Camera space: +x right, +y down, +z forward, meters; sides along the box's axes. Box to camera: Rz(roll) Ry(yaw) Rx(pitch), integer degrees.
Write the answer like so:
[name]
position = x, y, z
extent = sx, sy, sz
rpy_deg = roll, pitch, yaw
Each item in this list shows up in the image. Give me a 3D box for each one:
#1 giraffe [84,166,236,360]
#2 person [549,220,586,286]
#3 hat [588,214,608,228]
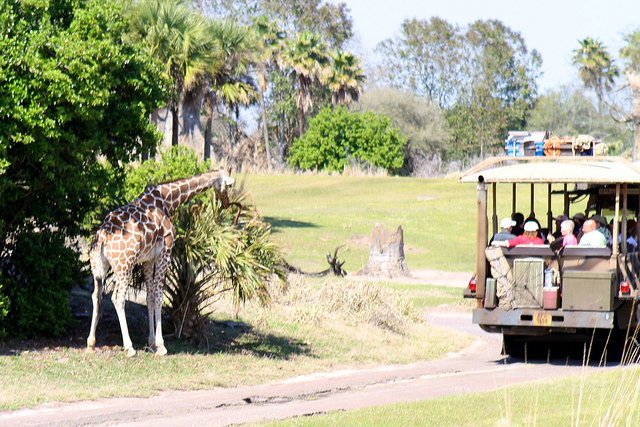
[giraffe]
position = -4.226, 1.132, 23.704
extent = 3.344, 4.414, 3.050
rpy_deg = 1, 7, 9
[person]
position = 5.988, 0.948, 23.101
extent = 0.788, 1.454, 0.794
rpy_deg = 1, 6, 11
[hat]
position = 7.099, 0.223, 24.144
extent = 0.397, 0.276, 0.769
rpy_deg = 3, 8, 21
